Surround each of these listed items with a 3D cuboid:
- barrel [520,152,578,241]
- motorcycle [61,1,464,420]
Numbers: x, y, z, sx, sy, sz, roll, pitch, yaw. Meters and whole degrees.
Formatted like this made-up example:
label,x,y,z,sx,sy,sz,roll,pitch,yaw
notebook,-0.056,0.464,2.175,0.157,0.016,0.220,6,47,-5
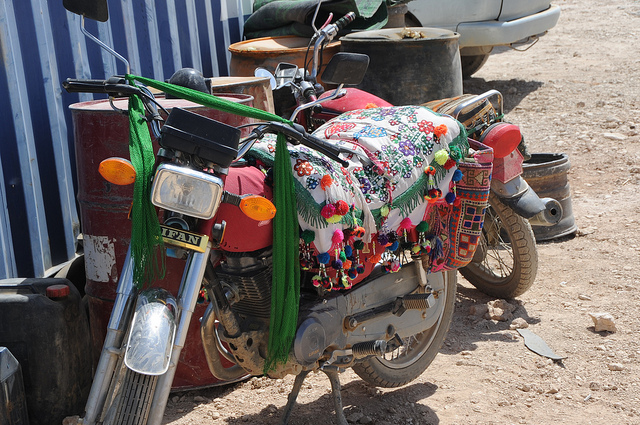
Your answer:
label,x,y,z,sx,sy,sz,roll,pitch,yaw
barrel,1.973,-0.146,6.982,0.659,0.776,0.705,-7,11,5
motorcycle,-0.201,0.314,4.536,2.295,1.872,0.648,-11,20,-32
